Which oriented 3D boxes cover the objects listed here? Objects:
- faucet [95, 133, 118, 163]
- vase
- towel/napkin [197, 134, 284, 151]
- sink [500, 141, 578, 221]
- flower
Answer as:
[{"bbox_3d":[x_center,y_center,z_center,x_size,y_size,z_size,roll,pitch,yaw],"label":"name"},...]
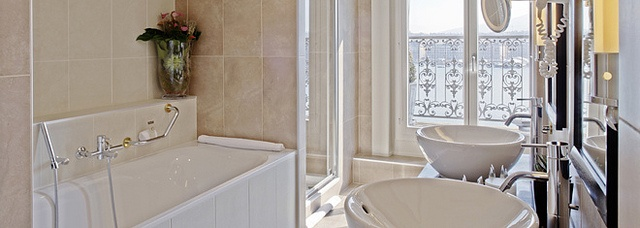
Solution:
[{"bbox_3d":[-2.165,0.365,3.807,0.170,0.301,0.283,-7,14,-25],"label":"faucet"},{"bbox_3d":[-1.644,-0.508,4.272,0.359,0.648,0.145,-4,14,-15],"label":"vase"},{"bbox_3d":[-0.915,0.347,4.361,1.029,0.099,0.145,6,18,10],"label":"towel/napkin"},{"bbox_3d":[1.725,0.494,3.000,0.453,0.573,0.294,8,16,30],"label":"sink"},{"bbox_3d":[-1.704,-0.964,4.249,0.529,0.192,0.461,-5,13,-23],"label":"flower"}]
